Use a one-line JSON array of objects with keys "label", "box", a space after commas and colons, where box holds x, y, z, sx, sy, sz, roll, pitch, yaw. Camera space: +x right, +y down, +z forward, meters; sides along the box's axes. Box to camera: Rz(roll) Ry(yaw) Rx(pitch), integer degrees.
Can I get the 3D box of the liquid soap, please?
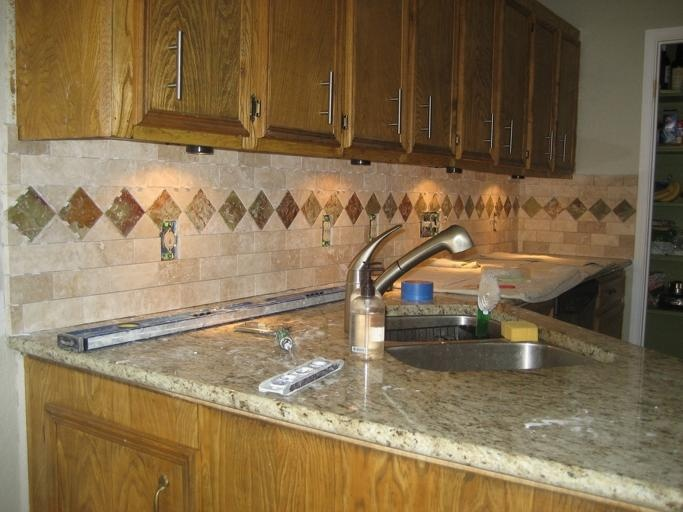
[{"label": "liquid soap", "box": [0.067, 0.155, 1.535, 0.089, 0.212, 0.173, -1, 9, -7]}]
